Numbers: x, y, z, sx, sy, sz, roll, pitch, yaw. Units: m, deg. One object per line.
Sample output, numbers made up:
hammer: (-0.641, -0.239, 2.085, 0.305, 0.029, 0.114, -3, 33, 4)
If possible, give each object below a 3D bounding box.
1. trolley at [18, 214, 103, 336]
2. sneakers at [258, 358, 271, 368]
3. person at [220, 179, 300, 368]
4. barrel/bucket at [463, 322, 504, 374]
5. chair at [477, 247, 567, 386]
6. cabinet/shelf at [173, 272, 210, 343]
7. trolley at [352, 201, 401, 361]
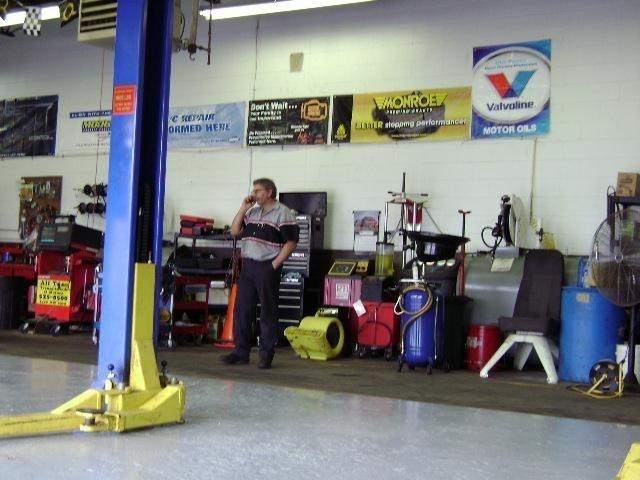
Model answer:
trolley: (-3.766, 0.557, 8.402, 0.967, 1.506, 1.070, 1, -2, 20)
sneakers: (-0.526, 1.189, 5.493, 0.107, 0.122, 0.071, 0, 2, -3)
person: (-0.605, 0.346, 5.650, 0.634, 1.907, 0.610, -1, 2, -34)
barrel/bucket: (1.870, 1.176, 6.338, 0.413, 0.516, 0.436, 3, 1, 0)
chair: (2.190, 0.791, 6.025, 0.688, 1.339, 1.218, 1, 2, 24)
cabinet/shelf: (-1.789, 0.948, 7.894, 0.510, 0.980, 0.960, 0, -1, -4)
trolley: (0.779, 0.541, 7.457, 0.481, 1.910, 0.755, 3, -5, 10)
